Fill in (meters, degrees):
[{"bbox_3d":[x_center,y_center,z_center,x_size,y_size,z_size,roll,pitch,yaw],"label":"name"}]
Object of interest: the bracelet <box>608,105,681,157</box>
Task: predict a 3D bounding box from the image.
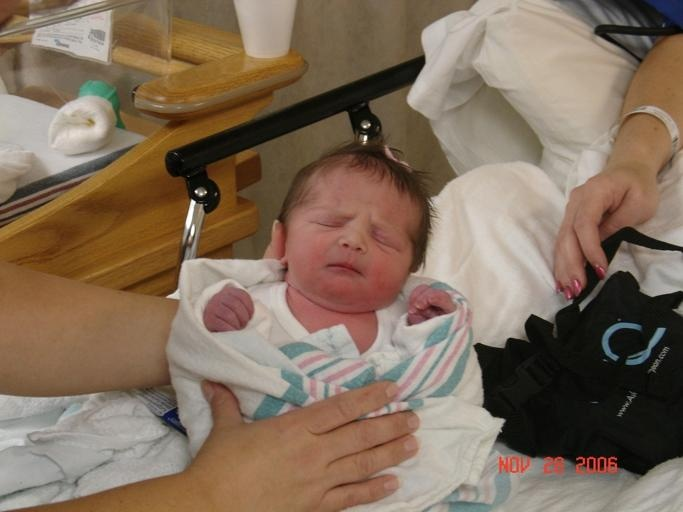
[{"bbox_3d":[0.683,-0.292,1.365,0.132,0.127,0.036,14,3,8],"label":"bracelet"}]
